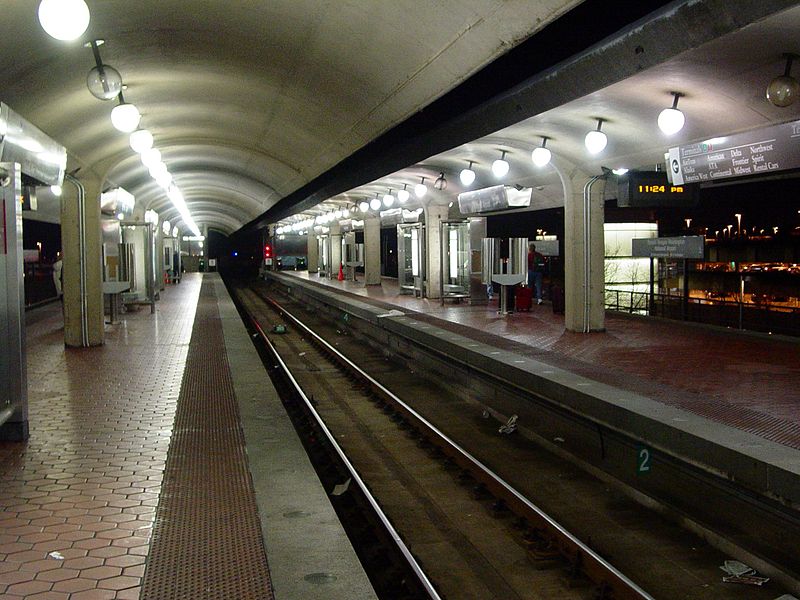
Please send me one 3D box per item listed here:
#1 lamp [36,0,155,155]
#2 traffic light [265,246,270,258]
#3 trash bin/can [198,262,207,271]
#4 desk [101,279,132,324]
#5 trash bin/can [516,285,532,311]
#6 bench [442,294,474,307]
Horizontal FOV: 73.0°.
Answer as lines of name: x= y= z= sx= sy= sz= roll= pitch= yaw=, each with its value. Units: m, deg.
lamp: x=-4.289 y=-3.138 z=7.598 sx=0.690 sy=2.411 sz=0.665 roll=33 pitch=61 yaw=23
traffic light: x=-13.315 y=-4.905 z=54.486 sx=1.152 sy=1.124 sz=0.200 roll=2 pitch=6 yaw=44
trash bin/can: x=-23.575 y=-4.050 z=64.346 sx=0.960 sy=1.647 sz=0.921 roll=2 pitch=-10 yaw=-15
desk: x=-8.827 y=0.004 z=16.959 sx=0.707 sy=1.303 sz=5.038 roll=-4 pitch=5 yaw=-27
trash bin/can: x=3.932 y=-0.068 z=17.179 sx=0.500 sy=0.816 sz=0.423 roll=-1 pitch=4 yaw=3
bench: x=2.173 y=-0.094 z=20.228 sx=1.083 sy=0.374 sz=1.485 roll=-1 pitch=4 yaw=6
